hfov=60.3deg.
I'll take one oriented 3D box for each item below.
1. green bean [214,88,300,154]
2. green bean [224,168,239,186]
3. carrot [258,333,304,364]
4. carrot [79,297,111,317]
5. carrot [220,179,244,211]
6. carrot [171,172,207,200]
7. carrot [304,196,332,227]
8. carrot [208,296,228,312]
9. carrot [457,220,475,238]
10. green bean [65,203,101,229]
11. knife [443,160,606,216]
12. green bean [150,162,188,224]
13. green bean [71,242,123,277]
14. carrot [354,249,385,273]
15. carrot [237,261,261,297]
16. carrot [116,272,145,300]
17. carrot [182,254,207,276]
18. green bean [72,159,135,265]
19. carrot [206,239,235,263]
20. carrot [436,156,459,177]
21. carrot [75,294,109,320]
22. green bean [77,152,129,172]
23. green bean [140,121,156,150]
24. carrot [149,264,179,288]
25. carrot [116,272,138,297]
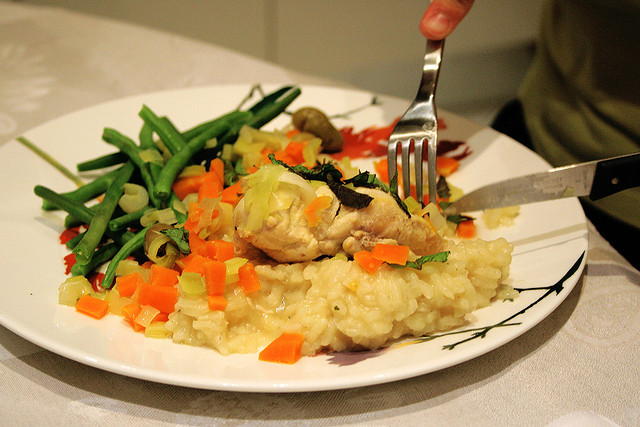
[{"bbox_3d":[-0.557,-0.811,4.950,0.610,0.547,0.891,-15,20,-34],"label":"green bean"},{"bbox_3d":[-0.711,-0.297,4.411,0.094,0.063,0.132,-29,60,-31],"label":"green bean"},{"bbox_3d":[-0.243,0.802,3.334,0.175,0.079,0.178,3,36,32],"label":"carrot"},{"bbox_3d":[-1.432,0.601,3.503,0.196,0.088,0.112,16,65,12],"label":"carrot"},{"bbox_3d":[-0.650,-0.146,4.078,0.151,0.265,0.104,17,14,-3],"label":"carrot"},{"bbox_3d":[-1.034,-0.226,4.318,0.430,0.118,0.121,-23,94,-26],"label":"carrot"},{"bbox_3d":[-0.024,-0.023,3.537,0.152,0.049,0.195,45,70,-19],"label":"carrot"},{"bbox_3d":[-0.636,0.555,3.446,0.093,0.058,0.094,2,30,-21],"label":"carrot"},{"bbox_3d":[1.110,0.111,4.154,0.122,0.116,0.124,-1,25,28],"label":"carrot"},{"bbox_3d":[-1.819,0.025,4.061,0.169,0.170,0.051,4,29,-38],"label":"green bean"},{"bbox_3d":[1.466,-0.176,3.799,1.688,0.125,0.254,-4,95,30],"label":"knife"},{"bbox_3d":[-1.187,-0.184,4.216,0.228,0.511,0.272,-11,22,-33],"label":"green bean"},{"bbox_3d":[-1.562,0.310,3.947,0.126,0.115,0.479,65,29,-9],"label":"green bean"},{"bbox_3d":[0.298,0.296,3.460,0.136,0.036,0.137,-38,78,-15],"label":"carrot"},{"bbox_3d":[-0.453,0.415,3.543,0.128,0.056,0.211,-33,93,1],"label":"carrot"},{"bbox_3d":[-1.251,0.479,3.622,0.117,0.064,0.108,-30,101,-24],"label":"carrot"},{"bbox_3d":[-0.806,0.332,3.554,0.051,0.122,0.122,42,12,-15],"label":"carrot"},{"bbox_3d":[-1.537,-0.046,4.042,0.154,0.136,0.916,8,40,7],"label":"green bean"},{"bbox_3d":[-0.670,0.247,3.714,0.146,0.110,0.147,-3,9,-42],"label":"carrot"},{"bbox_3d":[1.066,-0.400,4.656,0.175,0.049,0.180,-40,54,-19],"label":"carrot"},{"bbox_3d":[-1.434,0.586,3.475,0.161,0.043,0.142,25,56,14],"label":"carrot"},{"bbox_3d":[-1.762,-0.420,4.472,0.396,0.072,0.092,-17,84,2],"label":"green bean"},{"bbox_3d":[-1.396,-0.637,4.460,0.150,0.042,0.388,6,52,-24],"label":"green bean"},{"bbox_3d":[-1.043,0.411,3.670,0.193,0.142,0.136,14,89,-29],"label":"carrot"},{"bbox_3d":[-1.274,0.456,3.648,0.133,0.132,0.127,-23,102,-37],"label":"carrot"}]
